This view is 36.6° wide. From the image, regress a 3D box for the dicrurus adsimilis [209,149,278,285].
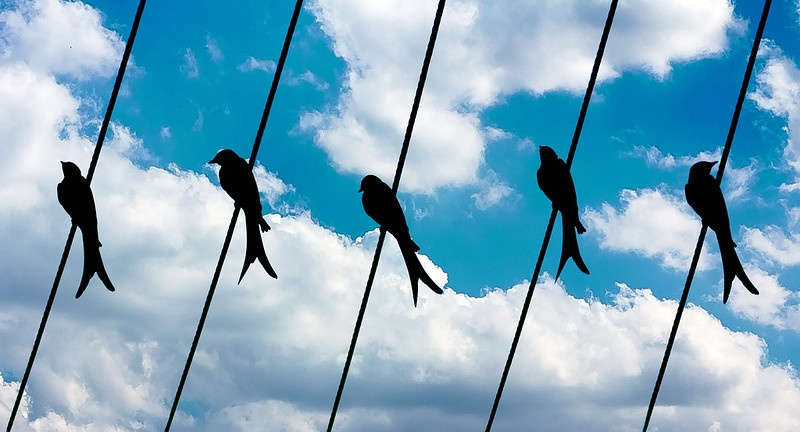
[{"bbox_3d":[-2.415,-0.050,18.764,0.743,0.814,2.345,-22,-98,29],"label":"dicrurus adsimilis"}]
